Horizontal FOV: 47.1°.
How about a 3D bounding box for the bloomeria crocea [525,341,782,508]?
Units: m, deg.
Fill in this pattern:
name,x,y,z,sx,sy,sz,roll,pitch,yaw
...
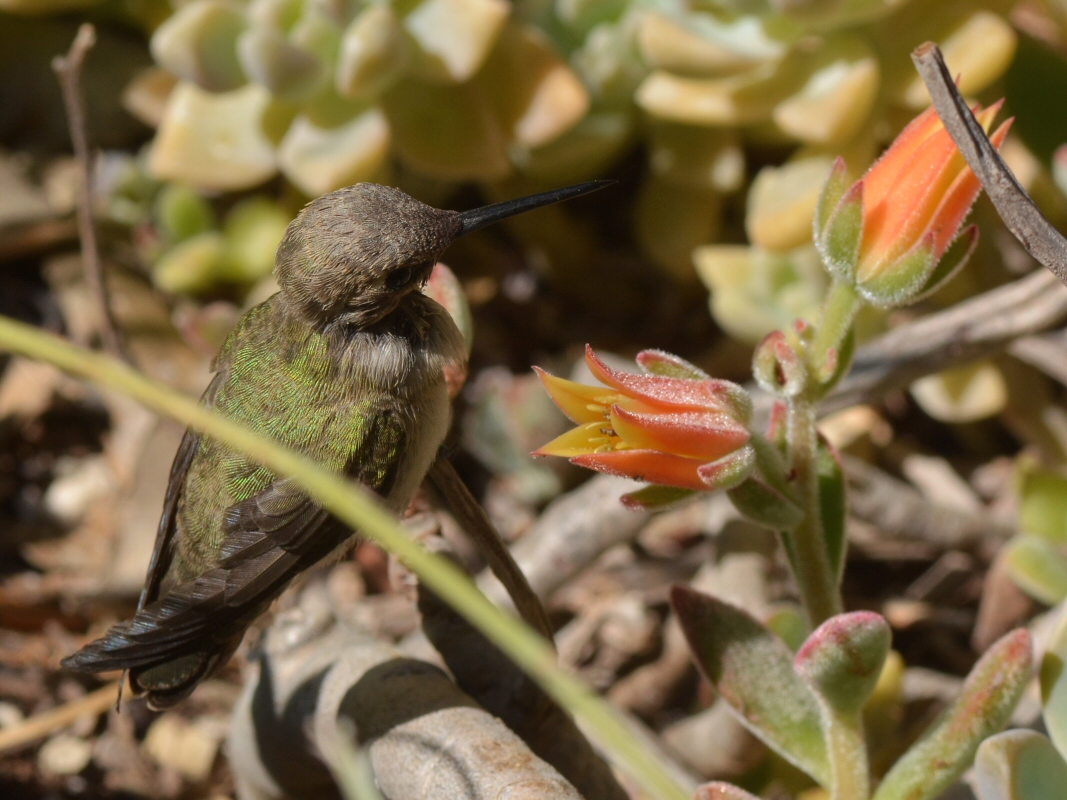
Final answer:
name,x,y,z,sx,sy,sz,roll,pitch,yaw
bloomeria crocea,0.133,0.025,1.399,0.270,0.142,0.183,-11,81,-1
